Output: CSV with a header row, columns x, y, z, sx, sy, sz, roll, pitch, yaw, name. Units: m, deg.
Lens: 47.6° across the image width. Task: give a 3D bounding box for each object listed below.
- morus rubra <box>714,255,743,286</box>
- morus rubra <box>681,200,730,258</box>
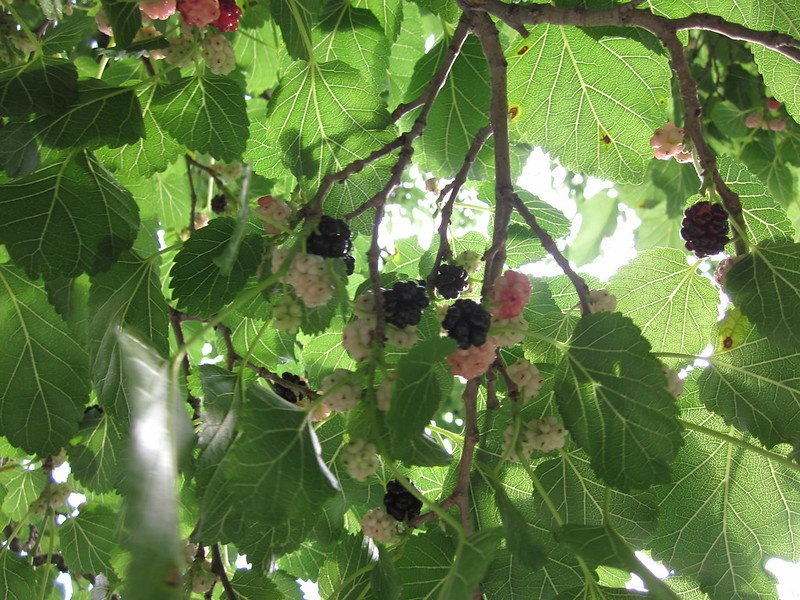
x,y,z,sx,sy,sz,roll,pitch,yaw,name
0.756,-0.065,2.104,0.031,0.075,0.085,9,-21,-11,morus rubra
0.704,-0.165,2.074,0.095,0.086,0.123,20,2,16,morus rubra
